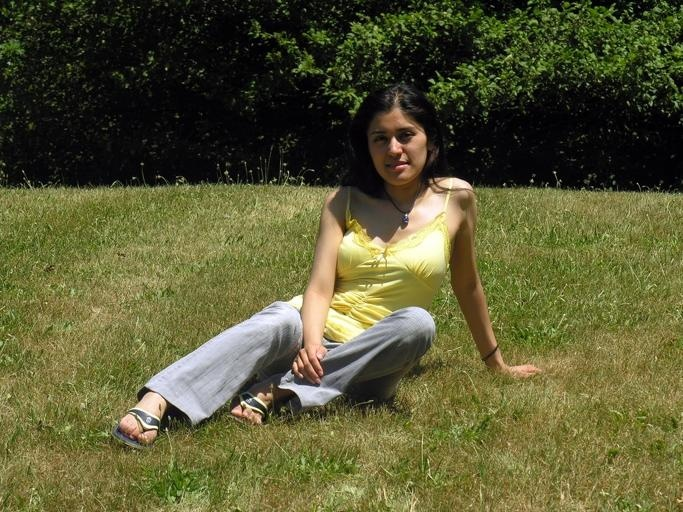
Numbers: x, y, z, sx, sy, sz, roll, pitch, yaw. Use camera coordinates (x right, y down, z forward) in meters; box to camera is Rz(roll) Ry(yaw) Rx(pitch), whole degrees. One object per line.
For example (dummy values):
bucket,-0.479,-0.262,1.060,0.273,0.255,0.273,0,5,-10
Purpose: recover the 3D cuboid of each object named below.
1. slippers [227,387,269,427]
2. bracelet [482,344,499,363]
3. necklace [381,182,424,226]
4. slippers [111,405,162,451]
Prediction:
slippers,-0.604,1.007,5.321,0.153,0.116,0.271,12,9,24
bracelet,1.129,0.727,6.051,0.029,0.118,0.121,42,17,-7
necklace,0.431,-0.361,5.591,0.281,0.061,0.370,3,57,-3
slippers,-1.303,1.086,5.066,0.281,0.211,0.143,4,23,10
